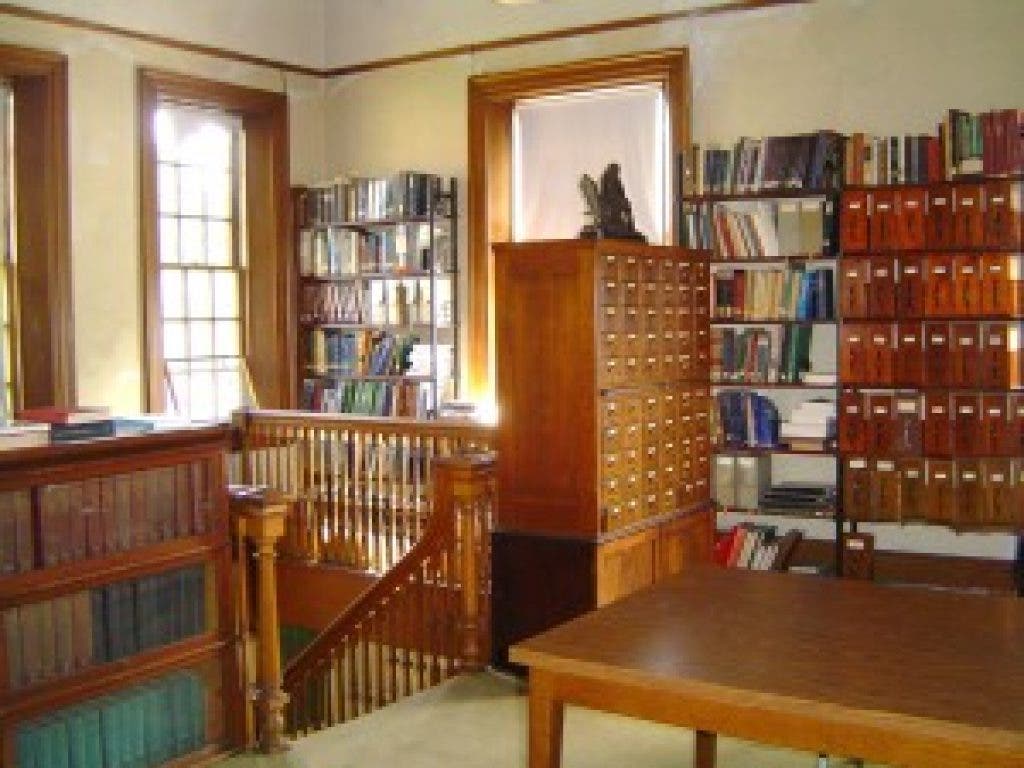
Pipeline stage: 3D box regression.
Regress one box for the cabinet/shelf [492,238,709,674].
[{"bbox_3d":[0.578,0.377,4.779,0.749,2.254,1.372,2,4,43],"label":"cabinet/shelf"}]
